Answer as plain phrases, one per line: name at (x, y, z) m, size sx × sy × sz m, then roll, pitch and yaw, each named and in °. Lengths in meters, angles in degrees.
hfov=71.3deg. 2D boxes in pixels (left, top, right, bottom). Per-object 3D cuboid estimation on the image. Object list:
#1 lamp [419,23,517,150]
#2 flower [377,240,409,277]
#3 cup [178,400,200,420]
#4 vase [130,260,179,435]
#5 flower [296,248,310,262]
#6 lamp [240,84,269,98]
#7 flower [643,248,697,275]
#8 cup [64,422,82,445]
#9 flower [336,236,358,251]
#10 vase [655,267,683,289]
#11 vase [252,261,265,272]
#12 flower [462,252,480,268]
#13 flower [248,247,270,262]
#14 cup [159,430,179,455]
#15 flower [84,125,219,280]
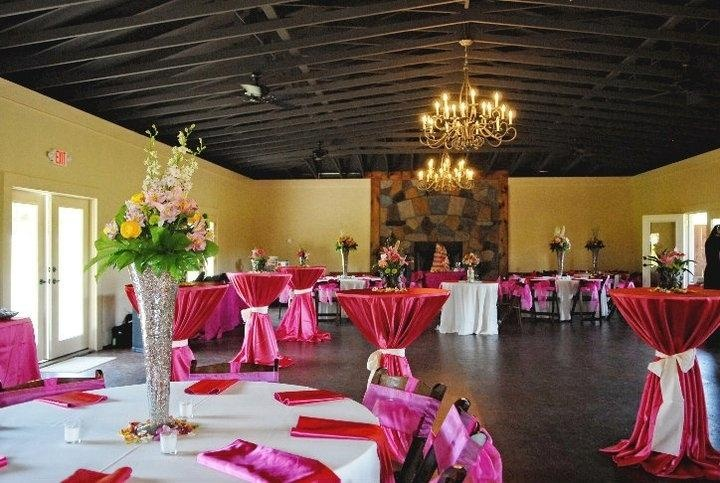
lamp at (1.597, -2.242, 7.488) m, size 1.306 × 1.677 × 1.332 m, roll -1°, pitch 5°, yaw 25°
flower at (0.327, 0.177, 5.580) m, size 0.261 × 0.333 × 0.257 m, roll 0°, pitch 5°, yaw -10°
cup at (-1.098, 1.088, 3.267) m, size 0.093 × 0.106 × 0.148 m, roll 0°, pitch -5°, yaw 11°
vase at (-1.271, 0.672, 3.101) m, size 0.377 × 1.006 × 0.361 m, roll 7°, pitch -28°, yaw -38°
flower at (-1.401, 0.297, 12.328) m, size 0.328 × 0.354 × 0.280 m, roll 5°, pitch 13°, yaw 13°
lamp at (-1.476, -2.131, 7.072) m, size 0.312 × 0.135 × 0.346 m, roll -1°, pitch 4°, yaw -7°
flower at (4.945, 0.295, 7.974) m, size 0.681 × 0.308 × 0.639 m, roll -1°, pitch -3°, yaw 30°
cup at (-1.686, 1.133, 2.955) m, size 0.099 × 0.112 × 0.101 m, roll 1°, pitch 4°, yaw 0°
flower at (-0.286, 0.050, 10.584) m, size 0.370 × 0.261 × 0.377 m, roll 0°, pitch 0°, yaw 5°
vase at (3.120, 0.355, 5.077) m, size 0.210 × 0.199 × 0.313 m, roll 2°, pitch 5°, yaw 30°
vase at (-1.650, 0.397, 8.238) m, size 0.174 × 0.161 × 0.193 m, roll 0°, pitch -9°, yaw -4°
flower at (2.580, 0.424, 11.737) m, size 0.391 × 0.402 × 0.364 m, roll -6°, pitch 6°, yaw -23°
flower at (-2.191, 0.260, 10.733) m, size 0.344 × 0.356 × 0.336 m, roll 5°, pitch 9°, yaw 18°
cup at (-1.095, 1.156, 2.884) m, size 0.118 × 0.130 × 0.120 m, roll -1°, pitch -2°, yaw 0°
flower at (-1.368, -0.273, 3.231) m, size 0.776 × 0.892 × 0.779 m, roll 2°, pitch -5°, yaw 21°
